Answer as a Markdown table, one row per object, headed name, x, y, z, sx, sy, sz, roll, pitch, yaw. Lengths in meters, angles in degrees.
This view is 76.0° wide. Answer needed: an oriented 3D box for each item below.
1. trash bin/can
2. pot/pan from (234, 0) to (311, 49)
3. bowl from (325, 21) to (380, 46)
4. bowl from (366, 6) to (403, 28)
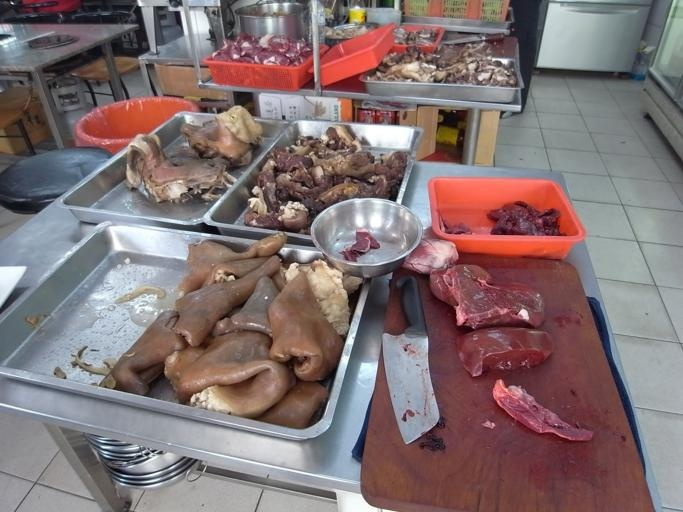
| name | x | y | z | sx | sy | sz | roll | pitch | yaw |
| --- | --- | --- | --- | --- | --- | --- | --- | --- | --- |
| trash bin/can | -1.340 | -0.827 | 2.809 | 0.511 | 0.247 | 0.693 | 16 | 40 | 22 |
| pot/pan | -0.440 | -1.539 | 2.836 | 0.569 | 0.346 | 0.555 | -3 | 30 | -4 |
| bowl | 0.079 | -1.552 | 3.046 | 0.383 | 0.072 | 0.470 | 0 | 36 | 2 |
| bowl | 0.335 | -1.886 | 3.422 | 0.276 | 0.106 | 0.347 | 2 | 36 | 5 |
